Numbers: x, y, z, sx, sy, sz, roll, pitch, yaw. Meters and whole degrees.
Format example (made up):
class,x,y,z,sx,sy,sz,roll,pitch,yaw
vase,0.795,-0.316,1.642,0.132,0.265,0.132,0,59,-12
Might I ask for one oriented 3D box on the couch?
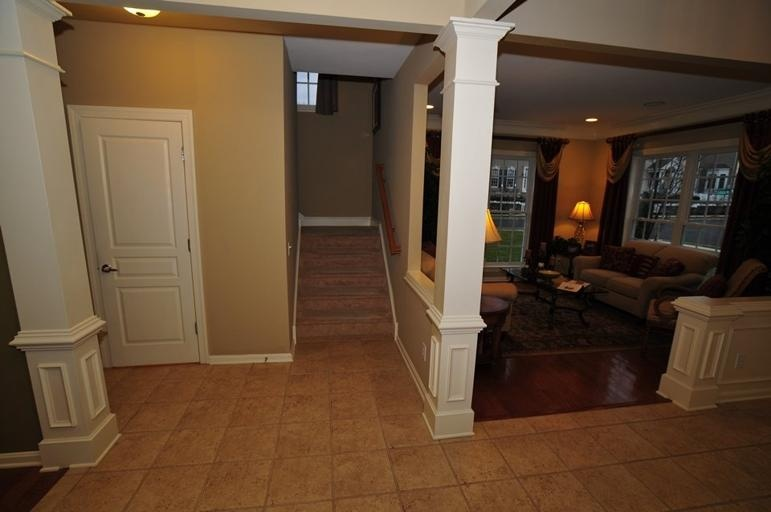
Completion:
class,x,y,z,sx,sy,sz,roll,pitch,yaw
couch,3.818,0.696,7.643,1.153,1.168,1.957,-1,12,-10

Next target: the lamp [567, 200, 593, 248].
class,x,y,z,sx,sy,sz,roll,pitch,yaw
lamp,3.630,-0.594,9.318,0.380,0.824,0.696,3,12,20

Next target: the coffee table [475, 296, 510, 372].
class,x,y,z,sx,sy,sz,roll,pitch,yaw
coffee table,1.272,0.852,5.946,0.350,0.797,0.775,1,11,10

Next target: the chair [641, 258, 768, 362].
class,x,y,z,sx,sy,sz,roll,pitch,yaw
chair,3.914,0.574,6.416,1.445,1.109,0.774,-2,11,-6
